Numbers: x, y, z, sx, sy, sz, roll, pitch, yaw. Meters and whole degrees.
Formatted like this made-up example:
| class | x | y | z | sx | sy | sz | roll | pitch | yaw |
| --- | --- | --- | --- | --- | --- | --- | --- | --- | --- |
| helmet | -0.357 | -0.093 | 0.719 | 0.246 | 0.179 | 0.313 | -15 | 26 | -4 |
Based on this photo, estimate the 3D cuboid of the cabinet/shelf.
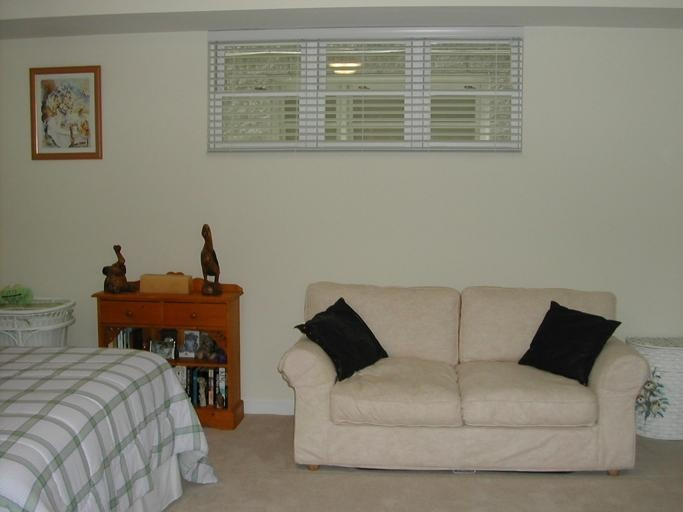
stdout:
| class | x | y | z | sx | sy | sz | roll | pitch | yaw |
| --- | --- | --- | --- | --- | --- | --- | --- | --- | --- |
| cabinet/shelf | -1.194 | 0.705 | 4.510 | 1.051 | 1.038 | 0.370 | 0 | 3 | 7 |

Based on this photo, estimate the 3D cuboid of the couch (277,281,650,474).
| class | x | y | z | sx | sy | sz | roll | pitch | yaw |
| --- | --- | --- | --- | --- | --- | --- | --- | --- | --- |
| couch | 0.780 | 0.849 | 4.476 | 2.290 | 1.104 | 0.790 | 2 | 8 | 0 |

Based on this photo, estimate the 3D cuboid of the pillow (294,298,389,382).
| class | x | y | z | sx | sy | sz | roll | pitch | yaw |
| --- | --- | --- | --- | --- | --- | --- | --- | --- | --- |
| pillow | -0.025 | 0.636 | 4.526 | 0.153 | 0.495 | 0.515 | -42 | -7 | 38 |

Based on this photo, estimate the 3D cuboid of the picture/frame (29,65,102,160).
| class | x | y | z | sx | sy | sz | roll | pitch | yaw |
| --- | --- | --- | --- | --- | --- | --- | --- | --- | --- |
| picture/frame | -2.213 | -1.190 | 5.263 | 0.747 | 0.913 | 0.044 | 1 | 8 | 6 |
